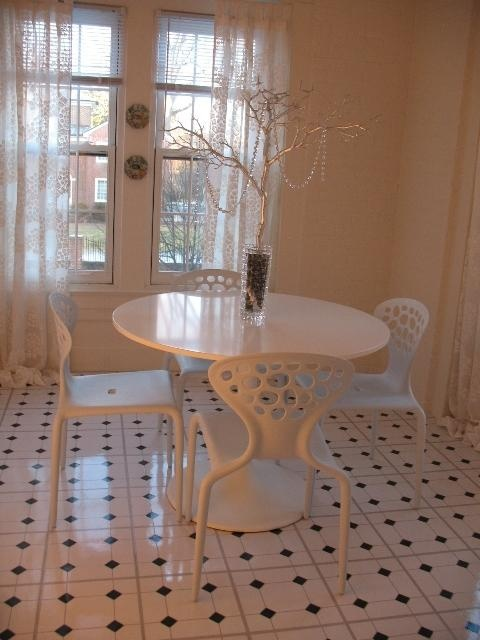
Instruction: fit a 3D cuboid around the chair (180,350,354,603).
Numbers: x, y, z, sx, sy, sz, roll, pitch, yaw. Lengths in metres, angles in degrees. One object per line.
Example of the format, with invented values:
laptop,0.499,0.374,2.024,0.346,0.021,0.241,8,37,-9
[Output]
chair,0.070,0.437,1.745,0.503,0.814,0.513,2,12,-6
